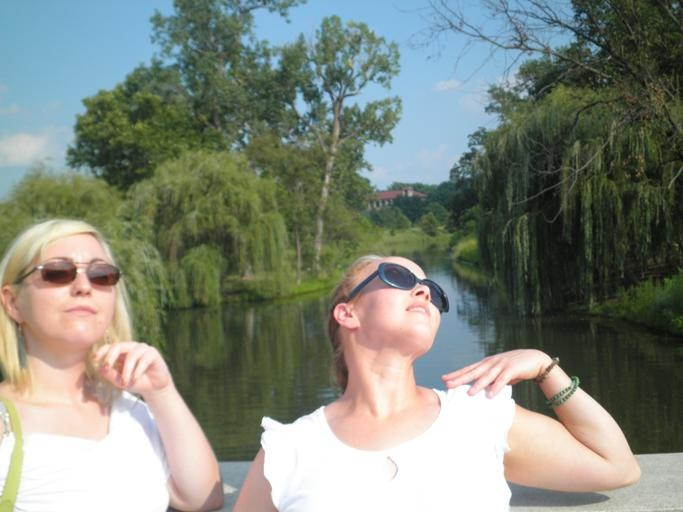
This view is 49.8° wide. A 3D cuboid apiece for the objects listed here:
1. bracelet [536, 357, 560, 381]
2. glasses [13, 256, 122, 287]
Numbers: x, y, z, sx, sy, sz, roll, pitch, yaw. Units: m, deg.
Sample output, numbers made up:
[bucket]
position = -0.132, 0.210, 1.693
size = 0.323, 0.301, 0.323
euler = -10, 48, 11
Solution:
[bracelet]
position = 1.169, 0.645, 4.178
size = 0.048, 0.120, 0.040
euler = 30, 15, -29
[glasses]
position = -1.504, 0.097, 4.035
size = 0.550, 0.172, 0.151
euler = -5, 4, -24
